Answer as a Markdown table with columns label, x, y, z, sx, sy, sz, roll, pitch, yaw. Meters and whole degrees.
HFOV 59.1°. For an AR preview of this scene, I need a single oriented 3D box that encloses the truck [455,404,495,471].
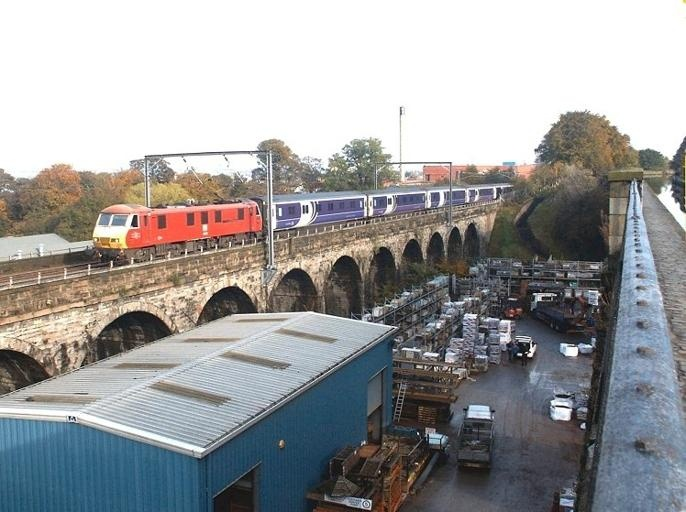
| label | x | y | z | sx | sy | sz | roll | pitch | yaw |
| --- | --- | --- | --- | --- | --- | --- | --- | --- | --- |
| truck | 4.031 | 5.462 | 18.405 | 0.965 | 1.045 | 2.820 | 1 | 7 | 17 |

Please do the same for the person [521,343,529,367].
| label | x | y | z | sx | sy | sz | roll | pitch | yaw |
| --- | --- | --- | --- | --- | --- | --- | --- | --- | --- |
| person | 8.182 | 4.438 | 27.264 | 0.275 | 0.835 | 1.012 | 3 | 7 | 18 |

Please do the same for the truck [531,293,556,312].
| label | x | y | z | sx | sy | sz | roll | pitch | yaw |
| --- | --- | --- | --- | --- | --- | --- | --- | --- | --- |
| truck | 12.427 | 2.917 | 37.955 | 0.975 | 1.128 | 1.591 | 1 | 4 | 4 |
